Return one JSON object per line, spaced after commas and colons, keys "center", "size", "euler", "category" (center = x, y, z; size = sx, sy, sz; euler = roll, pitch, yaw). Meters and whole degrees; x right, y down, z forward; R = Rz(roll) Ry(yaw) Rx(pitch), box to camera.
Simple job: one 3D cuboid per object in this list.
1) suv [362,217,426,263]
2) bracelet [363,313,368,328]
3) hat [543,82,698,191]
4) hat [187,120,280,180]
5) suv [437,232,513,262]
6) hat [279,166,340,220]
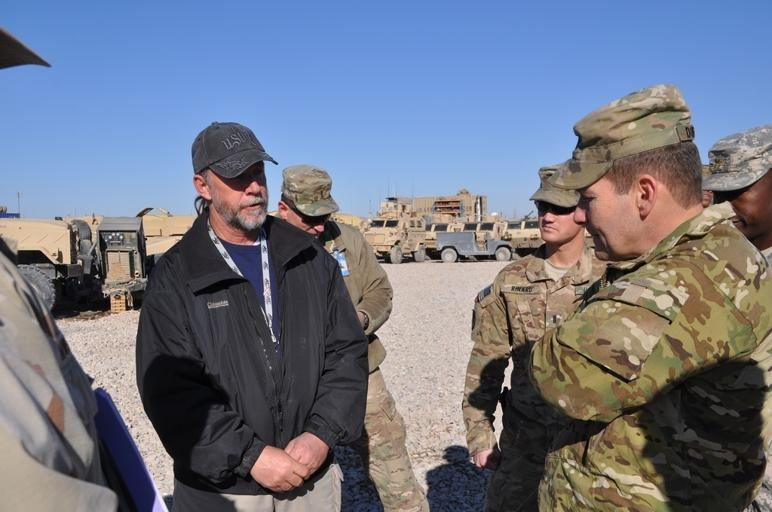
{"center": [0.307, -0.680, 24.466], "size": [2.043, 2.003, 3.601], "euler": [2, 4, 31], "category": "suv"}
{"center": [-0.127, 0.406, 3.459], "size": [0.035, 0.063, 0.054], "euler": [-1, 6, -15], "category": "bracelet"}
{"center": [0.851, -0.477, 2.160], "size": [0.563, 0.249, 0.436], "euler": [-14, 10, 20], "category": "hat"}
{"center": [-0.795, -0.551, 2.912], "size": [0.356, 0.278, 0.482], "euler": [-18, 15, -38], "category": "hat"}
{"center": [3.680, -0.399, 24.638], "size": [2.649, 1.178, 1.460], "euler": [-2, 2, 7], "category": "suv"}
{"center": [-0.506, -0.462, 3.787], "size": [0.452, 0.235, 0.350], "euler": [32, 33, 33], "category": "hat"}
